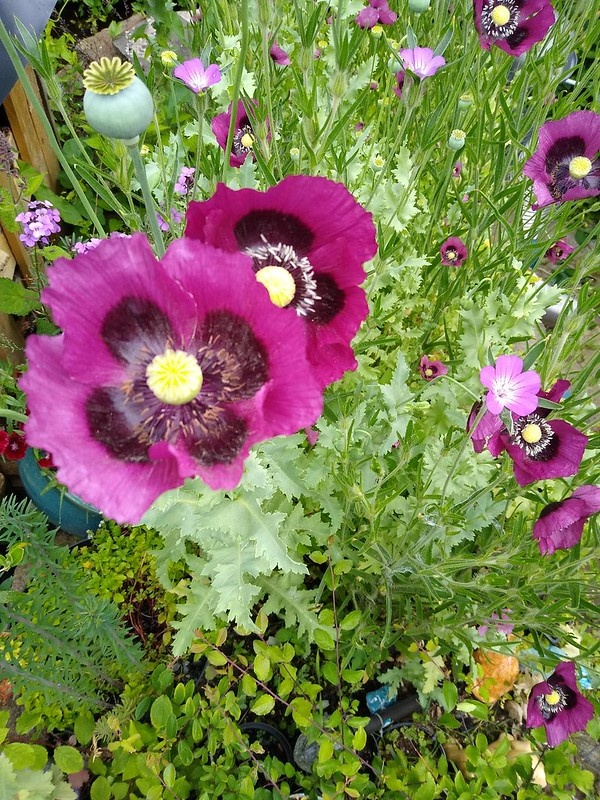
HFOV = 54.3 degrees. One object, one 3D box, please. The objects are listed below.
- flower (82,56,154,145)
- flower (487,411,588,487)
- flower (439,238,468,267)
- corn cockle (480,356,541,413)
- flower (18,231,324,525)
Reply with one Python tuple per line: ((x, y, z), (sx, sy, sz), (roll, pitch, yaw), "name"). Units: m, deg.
((-0.214, -0.350, 0.691), (0.073, 0.110, 0.088), (1, 83, -5), "flower")
((0.435, 0.078, 1.125), (0.165, 0.061, 0.156), (-23, 79, -12), "flower")
((0.453, -0.435, 1.729), (0.083, 0.038, 0.079), (-16, 106, 2), "flower")
((0.291, -0.020, 0.830), (0.094, 0.084, 0.082), (-2, 83, -5), "corn cockle")
((-0.169, -0.034, 0.741), (0.375, 0.160, 0.332), (-26, 93, -29), "flower")
